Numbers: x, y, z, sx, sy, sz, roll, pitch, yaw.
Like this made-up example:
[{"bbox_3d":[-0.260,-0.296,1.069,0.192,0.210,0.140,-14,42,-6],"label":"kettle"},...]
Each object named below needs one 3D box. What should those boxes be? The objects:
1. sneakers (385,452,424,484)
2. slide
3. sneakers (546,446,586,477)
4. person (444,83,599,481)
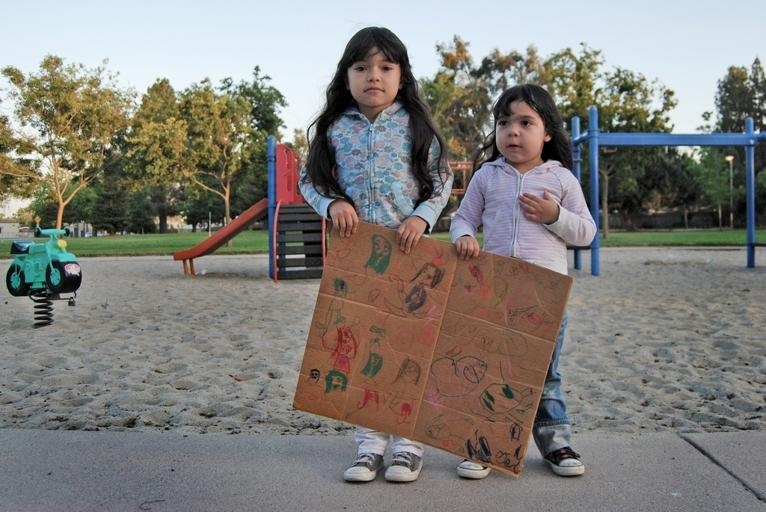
[{"bbox_3d":[0.161,1.525,5.084,0.302,0.195,0.181,1,3,-11],"label":"sneakers"},{"bbox_3d":[-3.477,-0.574,15.275,1.788,1.338,3.382,1,3,-12],"label":"slide"},{"bbox_3d":[1.324,1.490,5.058,0.124,0.134,0.336,1,3,-11],"label":"sneakers"},{"bbox_3d":[1.047,0.162,5.269,1.042,2.892,0.780,3,4,13],"label":"person"}]
